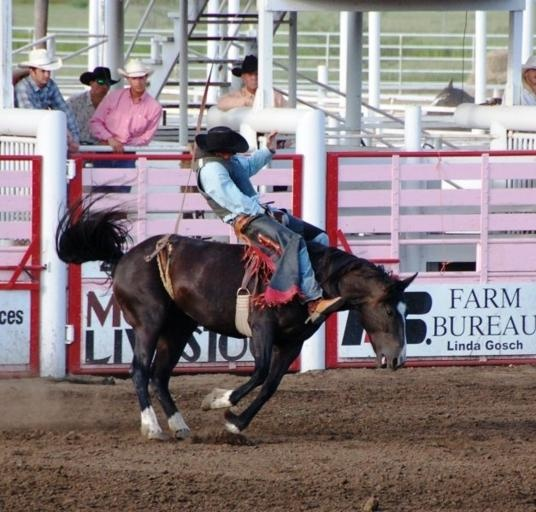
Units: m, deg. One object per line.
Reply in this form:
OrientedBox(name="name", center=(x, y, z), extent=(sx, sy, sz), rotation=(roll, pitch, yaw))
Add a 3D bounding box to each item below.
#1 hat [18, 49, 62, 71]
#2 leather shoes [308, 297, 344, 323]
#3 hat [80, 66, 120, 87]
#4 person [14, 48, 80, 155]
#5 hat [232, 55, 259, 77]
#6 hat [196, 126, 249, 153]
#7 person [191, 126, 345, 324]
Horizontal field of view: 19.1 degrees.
OrientedBox(name="hat", center=(-2.631, -2.295, 18.265), extent=(0.337, 0.162, 0.355), rotation=(-4, -4, -41))
OrientedBox(name="leather shoes", center=(0.523, 0.494, 14.562), extent=(0.289, 0.251, 0.177), rotation=(11, 18, 37))
OrientedBox(name="hat", center=(-2.113, -2.234, 19.802), extent=(0.283, 0.144, 0.338), rotation=(2, -3, -31))
OrientedBox(name="person", center=(-2.531, -1.830, 18.185), extent=(0.711, 1.034, 1.800), rotation=(-2, 15, -8))
OrientedBox(name="hat", center=(-0.288, -2.346, 19.743), extent=(0.305, 0.129, 0.263), rotation=(-23, -3, 13))
OrientedBox(name="hat", center=(-0.440, -1.081, 14.752), extent=(0.310, 0.132, 0.304), rotation=(6, 35, 9))
OrientedBox(name="person", center=(0.002, -0.314, 14.772), extent=(1.409, 1.690, 0.741), rotation=(11, 17, 37))
